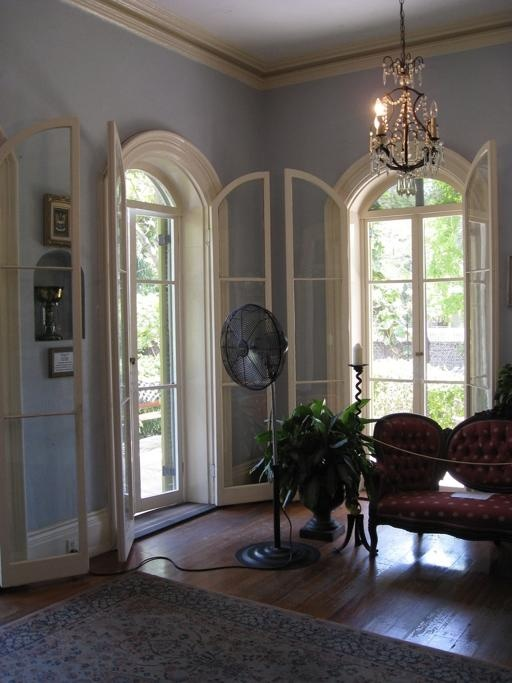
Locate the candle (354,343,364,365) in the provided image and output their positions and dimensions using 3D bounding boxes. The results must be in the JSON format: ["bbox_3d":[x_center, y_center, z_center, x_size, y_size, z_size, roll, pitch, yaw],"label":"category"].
[{"bbox_3d":[0.585,0.079,3.346,0.055,0.136,0.141,-2,-3,12],"label":"candle"}]

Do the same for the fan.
[{"bbox_3d":[0.081,0.495,3.160,0.480,1.383,0.495,-1,-3,10],"label":"fan"}]

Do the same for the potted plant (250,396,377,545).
[{"bbox_3d":[0.406,0.768,3.656,0.701,0.798,0.870,1,2,30],"label":"potted plant"}]

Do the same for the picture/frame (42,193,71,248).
[{"bbox_3d":[-0.971,-0.604,2.885,0.152,0.249,0.020,6,15,4],"label":"picture/frame"}]
